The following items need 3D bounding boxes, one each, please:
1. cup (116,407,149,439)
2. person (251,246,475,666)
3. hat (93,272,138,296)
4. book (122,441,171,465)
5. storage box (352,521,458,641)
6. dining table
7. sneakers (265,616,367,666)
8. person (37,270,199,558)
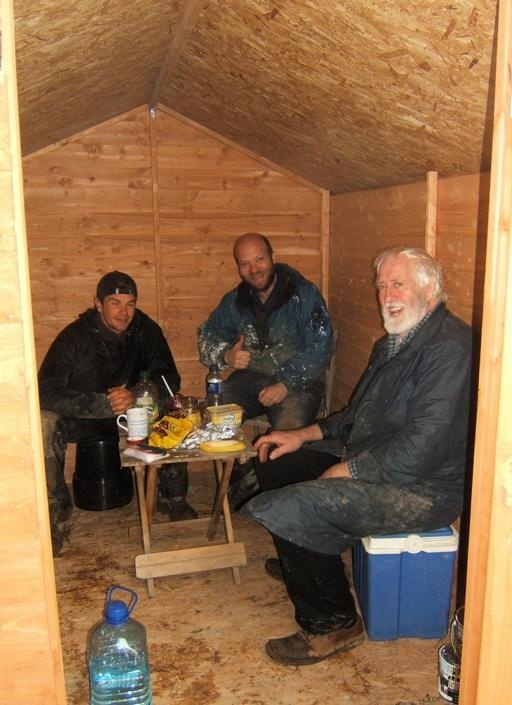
[{"bbox_3d":[-0.473,0.279,2.449,0.084,0.121,0.136,-2,9,-8],"label":"cup"},{"bbox_3d":[0.381,0.331,2.063,0.713,1.356,0.449,-8,12,-37],"label":"person"},{"bbox_3d":[-0.712,-0.340,3.123,0.159,0.098,0.158,-6,30,-23],"label":"hat"},{"bbox_3d":[-0.425,0.372,2.295,0.113,0.035,0.238,-8,10,-42],"label":"book"},{"bbox_3d":[0.481,0.802,2.224,0.340,0.293,0.427,-1,-4,-3],"label":"storage box"},{"bbox_3d":[-0.302,0.644,2.585,0.659,0.680,0.715,-1,-5,-15],"label":"dining table"},{"bbox_3d":[0.204,0.963,2.096,0.328,0.122,0.124,-2,9,-12],"label":"sneakers"},{"bbox_3d":[-0.772,0.241,3.252,0.845,1.190,0.766,-4,17,-22],"label":"person"}]
